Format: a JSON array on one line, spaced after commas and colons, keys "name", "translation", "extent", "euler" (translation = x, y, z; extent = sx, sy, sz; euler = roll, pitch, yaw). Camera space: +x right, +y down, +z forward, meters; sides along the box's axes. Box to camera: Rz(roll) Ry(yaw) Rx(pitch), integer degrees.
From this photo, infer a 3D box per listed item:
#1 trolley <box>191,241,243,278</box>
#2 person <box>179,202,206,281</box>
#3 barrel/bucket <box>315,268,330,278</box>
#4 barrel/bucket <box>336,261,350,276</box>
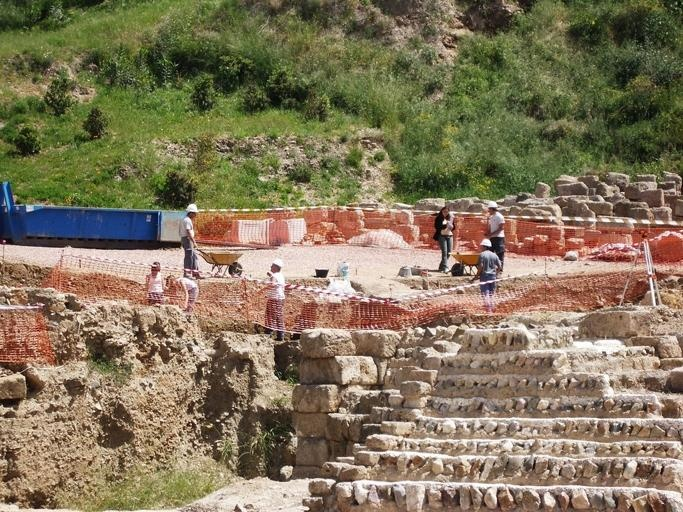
[{"name": "trolley", "translation": [-4.059, 0.089, 58.810], "extent": [1.665, 1.135, 0.893], "euler": [-3, 6, -17]}, {"name": "person", "translation": [-4.855, -0.435, 57.483], "extent": [0.546, 2.486, 0.782], "euler": [-1, 5, 11]}, {"name": "barrel/bucket", "translation": [-0.642, 0.567, 58.699], "extent": [0.268, 0.201, 0.292], "euler": [0, -4, 0]}, {"name": "barrel/bucket", "translation": [0.113, 0.419, 58.202], "extent": [0.362, 0.495, 0.376], "euler": [0, 1, 0]}]
